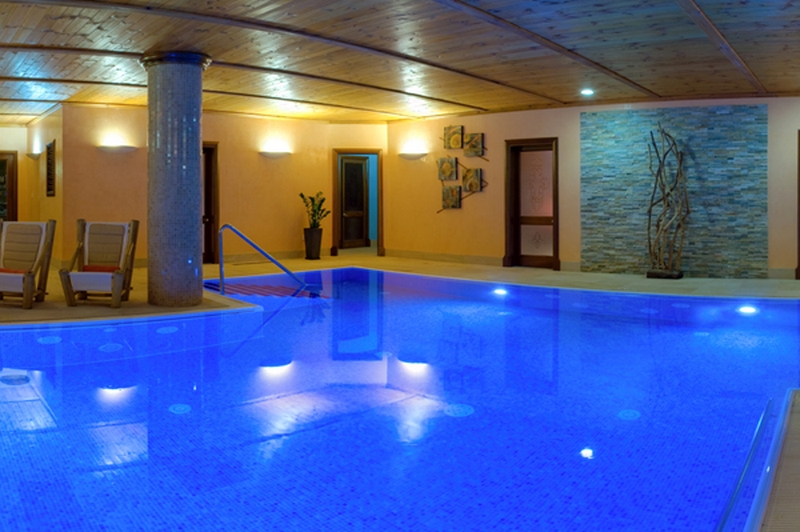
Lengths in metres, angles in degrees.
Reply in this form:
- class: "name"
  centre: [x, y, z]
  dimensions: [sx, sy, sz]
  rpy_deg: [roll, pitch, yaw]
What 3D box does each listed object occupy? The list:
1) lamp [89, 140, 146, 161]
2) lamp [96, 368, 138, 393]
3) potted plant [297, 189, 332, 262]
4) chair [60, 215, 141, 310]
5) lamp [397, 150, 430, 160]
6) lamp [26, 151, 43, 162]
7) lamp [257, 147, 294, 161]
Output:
- class: "lamp"
  centre: [-6.124, -2.554, 11.885]
  dimensions: [0.993, 0.472, 0.240]
  rpy_deg: [-3, 9, -22]
- class: "lamp"
  centre: [-2.666, 1.083, 5.141]
  dimensions: [0.217, 0.120, 0.206]
  rpy_deg: [1, -5, 4]
- class: "potted plant"
  centre: [-2.207, -1.076, 14.279]
  dimensions: [0.738, 1.749, 0.660]
  rpy_deg: [-3, 9, -20]
- class: "chair"
  centre: [-4.644, -0.069, 8.462]
  dimensions: [1.050, 1.232, 1.526]
  rpy_deg: [-4, 10, -25]
- class: "lamp"
  centre: [0.310, -2.832, 13.961]
  dimensions: [0.875, 0.217, 0.260]
  rpy_deg: [8, 12, 43]
- class: "lamp"
  centre: [-9.108, -2.754, 13.539]
  dimensions: [0.518, 0.143, 0.381]
  rpy_deg: [4, 7, 40]
- class: "lamp"
  centre: [-3.083, -2.782, 13.655]
  dimensions: [0.926, 0.248, 0.214]
  rpy_deg: [-6, 11, -38]
